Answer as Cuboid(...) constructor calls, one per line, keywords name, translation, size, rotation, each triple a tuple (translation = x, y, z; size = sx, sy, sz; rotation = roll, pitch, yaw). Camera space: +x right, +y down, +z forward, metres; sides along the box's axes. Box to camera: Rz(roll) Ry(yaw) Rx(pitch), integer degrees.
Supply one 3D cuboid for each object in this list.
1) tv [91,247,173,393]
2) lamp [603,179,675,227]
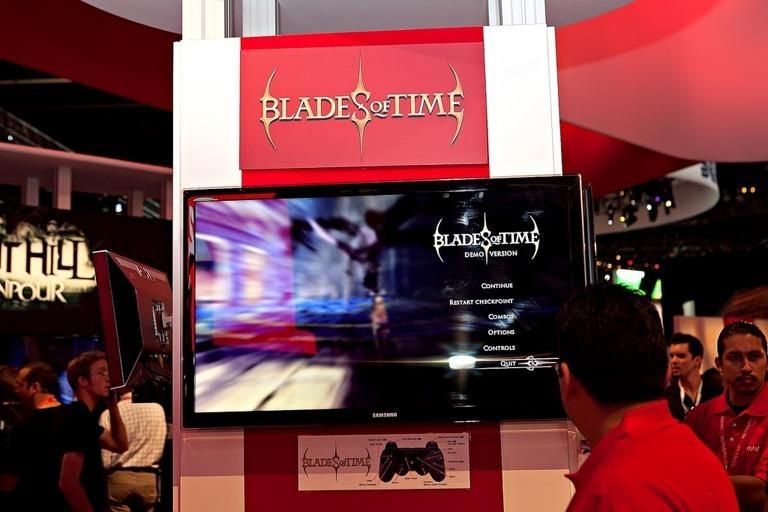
Cuboid(name="tv", translation=(-1.364, 0.351, 4.354), size=(0.231, 0.741, 0.519), rotation=(-2, -4, 17))
Cuboid(name="lamp", translation=(2.795, -0.590, 8.633), size=(0.832, 0.458, 0.552), rotation=(-2, -3, 19))
